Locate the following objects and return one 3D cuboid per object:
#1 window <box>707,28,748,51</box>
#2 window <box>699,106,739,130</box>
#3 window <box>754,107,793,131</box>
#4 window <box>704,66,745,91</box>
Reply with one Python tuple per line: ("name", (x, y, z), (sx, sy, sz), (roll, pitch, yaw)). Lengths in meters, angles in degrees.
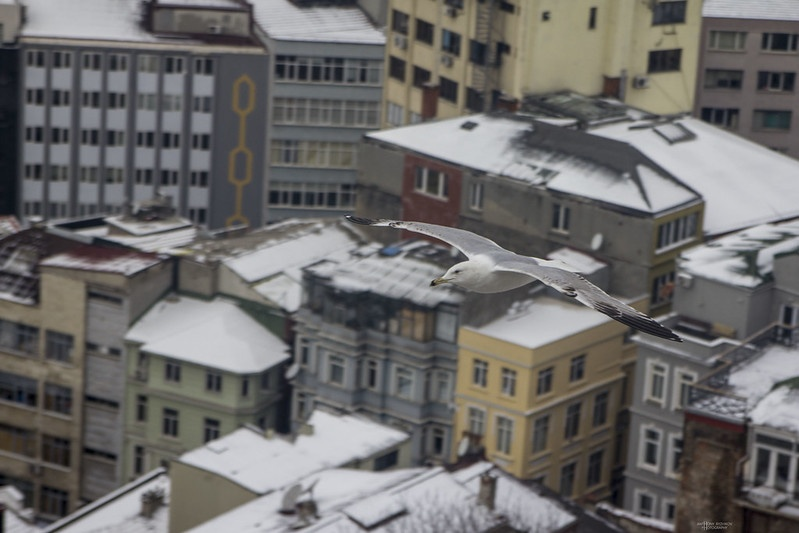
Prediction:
("window", (27.002, -18.919, 209.386), (2.913, 1.226, 0.160), (3, 36, 6))
("window", (26.755, -12.595, 212.305), (4.312, 1.627, 2.408), (6, 6, 11))
("window", (30.923, -12.401, 210.535), (2.875, 1.199, 0.108), (4, 16, 4))
("window", (26.882, -15.750, 210.333), (3.167, 1.322, 0.259), (1, 33, 3))
